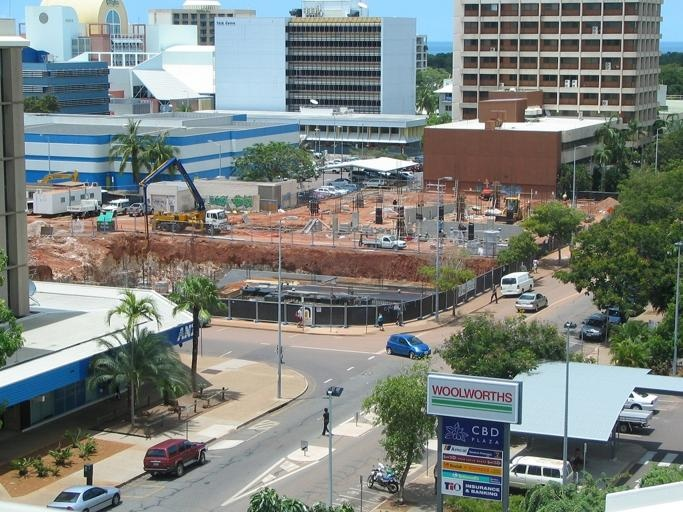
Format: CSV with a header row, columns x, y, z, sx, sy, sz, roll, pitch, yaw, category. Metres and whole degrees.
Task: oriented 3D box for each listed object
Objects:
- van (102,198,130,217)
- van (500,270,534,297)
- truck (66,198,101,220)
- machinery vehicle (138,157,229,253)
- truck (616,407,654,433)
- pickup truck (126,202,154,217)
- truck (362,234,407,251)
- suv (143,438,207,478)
x,y,z,sx,sy,sz,roll,pitch,yaw,category
-28.678,-6.441,161.755,1.967,2.128,3.523,1,2,29,van
17.510,2.519,126.269,1.846,1.580,3.150,5,16,35,van
-32.039,-6.018,158.526,2.049,1.770,3.513,8,11,35,truck
-18.836,-7.145,150.642,9.045,8.912,4.131,0,15,1,machinery vehicle
21.730,12.286,94.370,2.657,0.906,1.978,-1,32,11,truck
-25.891,-6.014,159.315,1.817,1.518,4.060,0,-1,7,pickup truck
4.768,-1.420,140.745,4.104,1.604,2.050,1,6,17,truck
-12.026,14.312,91.314,2.612,2.288,5.373,-3,6,22,suv
